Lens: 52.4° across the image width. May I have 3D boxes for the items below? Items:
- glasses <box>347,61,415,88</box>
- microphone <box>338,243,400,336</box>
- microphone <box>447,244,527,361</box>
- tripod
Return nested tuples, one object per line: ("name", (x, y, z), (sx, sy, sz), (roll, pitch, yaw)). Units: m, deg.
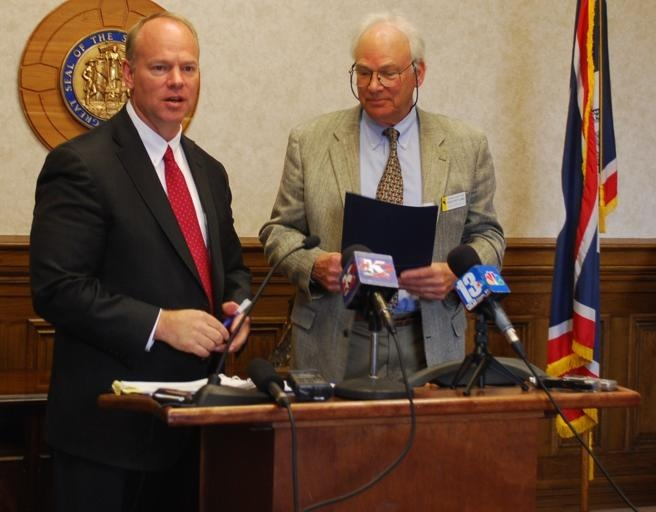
("glasses", (0.209, -0.695, 2.561), (0.250, 0.105, 0.104), (0, 6, 3))
("microphone", (0.107, 0.103, 1.763), (0.147, 0.222, 0.180), (0, 6, 2))
("microphone", (0.424, 0.131, 1.855), (0.112, 0.300, 0.262), (-4, 7, -33))
("tripod", (0.425, 0.292, 1.919), (0.190, 0.294, 0.205), (-2, 5, -8))
